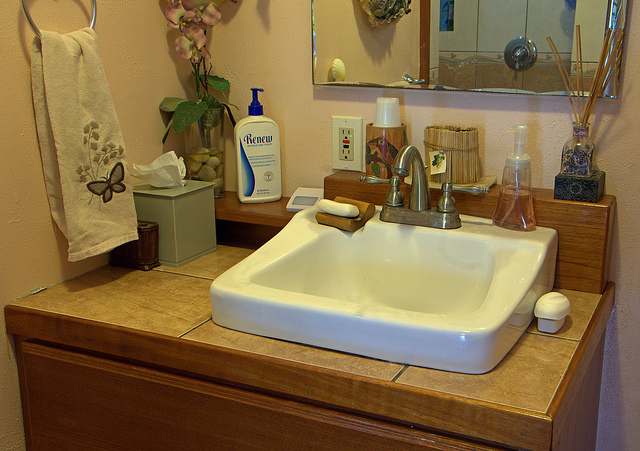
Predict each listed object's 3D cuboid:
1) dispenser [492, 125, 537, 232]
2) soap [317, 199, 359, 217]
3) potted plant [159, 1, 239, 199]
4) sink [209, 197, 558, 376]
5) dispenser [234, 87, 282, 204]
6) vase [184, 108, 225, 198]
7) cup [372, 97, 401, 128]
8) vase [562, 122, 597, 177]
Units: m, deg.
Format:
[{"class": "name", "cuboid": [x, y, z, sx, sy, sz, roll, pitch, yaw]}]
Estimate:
[{"class": "dispenser", "cuboid": [0.476, -0.115, 1.175, 0.070, 0.252, 0.118, -21, 26, -37]}, {"class": "soap", "cuboid": [0.044, -0.042, 1.249, 0.092, 0.032, 0.042, 14, 0, 33]}, {"class": "potted plant", "cuboid": [-0.379, -0.371, 1.501, 0.188, 0.578, 0.242, 4, 18, 14]}, {"class": "sink", "cuboid": [0.172, 0.123, 1.116, 0.651, 0.202, 0.543, 9, 19, 27]}, {"class": "dispenser", "cuboid": [-0.192, -0.243, 1.499, 0.146, 0.341, 0.103, -2, 18, -7]}, {"class": "vase", "cuboid": [-0.375, -0.237, 1.567, 0.150, 0.275, 0.162, -5, 8, -20]}, {"class": "cup", "cuboid": [0.178, -0.300, 1.313, 0.077, 0.075, 0.078, 0, 10, 0]}, {"class": "vase", "cuboid": [0.620, -0.182, 1.185, 0.097, 0.129, 0.093, -3, 11, -31]}]
